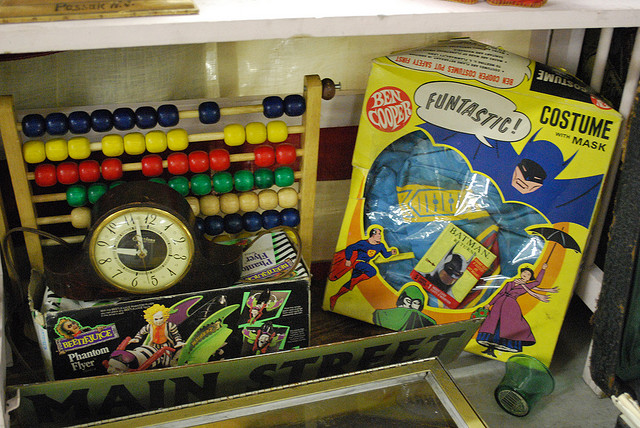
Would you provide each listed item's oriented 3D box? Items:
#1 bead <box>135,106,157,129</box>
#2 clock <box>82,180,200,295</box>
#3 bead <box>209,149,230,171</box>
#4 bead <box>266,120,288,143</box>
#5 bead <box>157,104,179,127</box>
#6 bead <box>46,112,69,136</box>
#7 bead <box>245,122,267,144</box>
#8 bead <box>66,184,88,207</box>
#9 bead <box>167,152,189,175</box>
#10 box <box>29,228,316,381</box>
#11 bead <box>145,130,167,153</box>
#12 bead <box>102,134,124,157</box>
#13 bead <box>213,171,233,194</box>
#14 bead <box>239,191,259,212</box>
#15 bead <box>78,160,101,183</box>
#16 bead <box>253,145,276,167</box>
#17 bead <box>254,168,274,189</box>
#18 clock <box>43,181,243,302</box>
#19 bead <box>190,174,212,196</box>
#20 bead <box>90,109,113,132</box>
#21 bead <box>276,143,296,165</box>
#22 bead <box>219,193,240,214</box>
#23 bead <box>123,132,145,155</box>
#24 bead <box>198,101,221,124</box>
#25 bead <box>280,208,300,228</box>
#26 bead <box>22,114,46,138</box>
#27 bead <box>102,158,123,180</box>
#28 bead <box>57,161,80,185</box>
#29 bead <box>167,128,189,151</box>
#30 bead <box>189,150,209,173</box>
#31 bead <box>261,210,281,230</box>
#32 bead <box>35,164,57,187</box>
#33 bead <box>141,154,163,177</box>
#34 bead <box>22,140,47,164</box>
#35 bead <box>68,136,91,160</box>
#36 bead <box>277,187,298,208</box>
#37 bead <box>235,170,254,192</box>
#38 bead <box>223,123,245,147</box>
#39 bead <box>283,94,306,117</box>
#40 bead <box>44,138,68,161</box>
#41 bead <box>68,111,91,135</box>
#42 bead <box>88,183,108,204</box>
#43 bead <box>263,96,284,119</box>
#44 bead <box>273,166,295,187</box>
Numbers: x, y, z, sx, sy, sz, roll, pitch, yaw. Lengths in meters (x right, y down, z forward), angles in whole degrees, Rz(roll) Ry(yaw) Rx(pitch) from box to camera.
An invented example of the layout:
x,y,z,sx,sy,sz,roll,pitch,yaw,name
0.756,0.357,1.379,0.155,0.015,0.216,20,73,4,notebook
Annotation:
x,y,z,sx,sy,sz,roll,pitch,yaw,name
-0.410,-0.226,1.229,0.051,0.049,0.032,-12,28,-26,bead
-0.399,0.063,1.161,0.277,0.238,0.132,-1,14,-9,clock
-0.250,-0.134,1.294,0.052,0.048,0.052,5,4,-11,bead
-0.107,-0.207,1.295,0.057,0.050,0.052,-2,-1,-29,bead
-0.357,-0.231,1.224,0.055,0.045,0.048,3,-23,-10,bead
-0.599,-0.203,1.187,0.053,0.049,0.054,10,-12,-36,bead
-0.161,-0.203,1.315,0.052,0.061,0.055,-3,25,-8,bead
-0.582,-0.045,1.250,0.059,0.050,0.050,7,-9,-5,bead
-0.346,-0.124,1.327,0.056,0.050,0.051,-24,25,-30,bead
-0.372,0.214,1.692,1.058,0.310,0.602,-6,-3,-7,box
-0.395,-0.175,1.255,0.056,0.048,0.049,1,-1,-11,bead
-0.490,-0.162,1.234,0.055,0.049,0.049,2,6,-15,bead
-0.243,-0.079,1.350,0.053,0.051,0.048,-11,52,1,bead
-0.184,-0.032,1.353,0.054,0.048,0.049,4,28,15,bead
-0.550,-0.101,1.241,0.052,0.049,0.054,0,-5,8,bead
-0.139,-0.148,1.316,0.056,0.050,0.051,0,5,3,bead
-0.144,-0.090,1.340,0.051,0.047,0.051,6,10,-12,bead
-0.403,0.059,1.183,0.438,0.246,0.104,-4,26,-9,clock
-0.298,-0.073,1.312,0.054,0.050,0.053,3,8,-5,bead
-0.503,-0.216,1.202,0.055,0.049,0.048,5,-8,-10,bead
-0.092,-0.157,1.358,0.055,0.048,0.049,-3,15,-9,bead
-0.235,-0.026,1.345,0.055,0.048,0.049,2,36,-1,bead
-0.444,-0.167,1.248,0.056,0.048,0.049,0,2,-22,bead
-0.270,-0.239,1.226,0.049,0.049,0.022,0,16,-11,bead
-0.079,0.010,1.386,0.051,0.048,0.049,8,-16,-12,bead
-0.645,-0.199,1.179,0.050,0.050,0.028,-12,28,-25,bead
-0.505,-0.107,1.277,0.047,0.060,0.056,-5,25,-12,bead
-0.597,-0.097,1.235,0.052,0.048,0.053,-3,5,-26,bead
-0.349,-0.182,1.277,0.049,0.052,0.043,-10,27,-21,bead
-0.298,-0.129,1.285,0.053,0.046,0.047,-2,9,-17,bead
-0.129,0.011,1.431,0.054,0.045,0.047,-17,44,-27,bead
-0.643,-0.091,1.223,0.051,0.048,0.052,-3,-18,0,bead
-0.417,-0.117,1.306,0.057,0.050,0.051,-2,27,-32,bead
-0.664,-0.144,1.213,0.048,0.052,0.046,-11,27,-23,bead
-0.562,-0.153,1.229,0.055,0.047,0.048,3,0,-12,bead
-0.085,-0.042,1.363,0.058,0.050,0.052,10,53,-15,bead
-0.193,-0.085,1.325,0.051,0.047,0.052,3,56,-22,bead
-0.212,-0.195,1.294,0.053,0.056,0.041,-11,27,-24,bead
-0.060,-0.265,1.269,0.055,0.048,0.048,-12,39,-21,bead
-0.613,-0.149,1.212,0.056,0.049,0.049,3,-9,-14,bead
-0.550,-0.208,1.194,0.052,0.048,0.052,0,4,-22,bead
-0.538,-0.047,1.268,0.054,0.046,0.047,-3,-7,-23,bead
-0.114,-0.261,1.274,0.050,0.050,0.033,-4,25,-10,bead
-0.092,-0.095,1.343,0.056,0.048,0.050,8,51,7,bead
